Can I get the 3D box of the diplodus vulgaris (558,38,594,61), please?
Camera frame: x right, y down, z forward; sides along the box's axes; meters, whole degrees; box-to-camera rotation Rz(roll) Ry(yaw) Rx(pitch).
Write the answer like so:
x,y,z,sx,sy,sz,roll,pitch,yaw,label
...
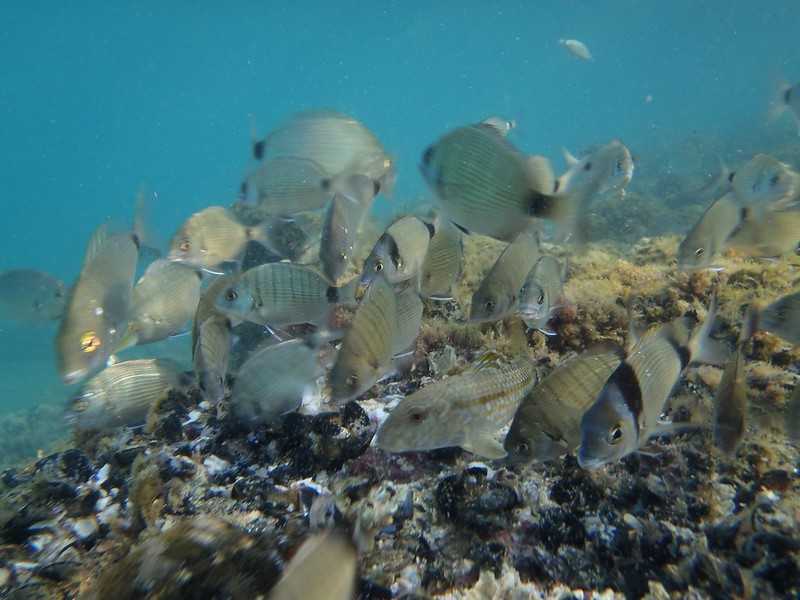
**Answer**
x,y,z,sx,sy,sz,roll,pitch,yaw,label
3.983,-5.681,16.832,0.622,0.403,0.945,6,15,17,diplodus vulgaris
